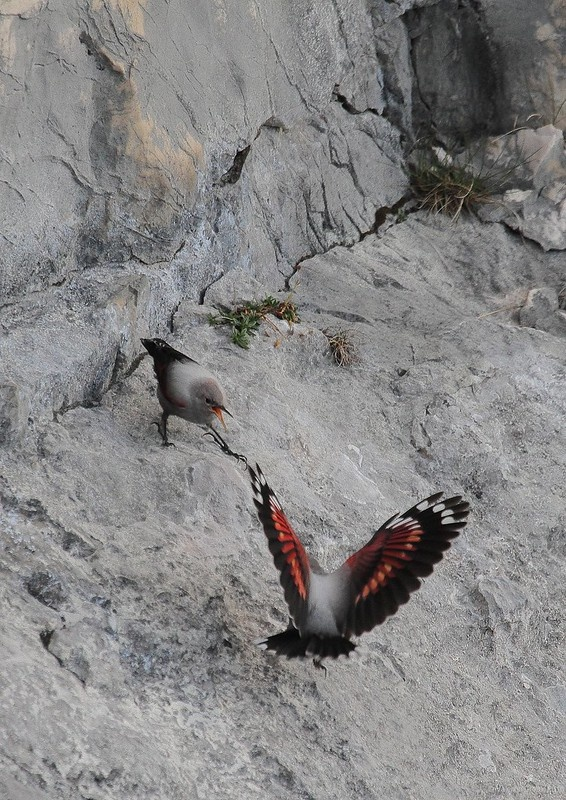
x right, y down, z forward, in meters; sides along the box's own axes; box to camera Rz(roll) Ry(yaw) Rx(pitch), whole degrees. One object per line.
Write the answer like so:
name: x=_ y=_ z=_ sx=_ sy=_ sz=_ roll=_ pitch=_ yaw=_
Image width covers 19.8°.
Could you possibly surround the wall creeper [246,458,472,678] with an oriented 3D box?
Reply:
wall creeper: x=0.221 y=0.697 z=6.633 sx=0.870 sy=0.841 sz=0.439 roll=12 pitch=2 yaw=-10
